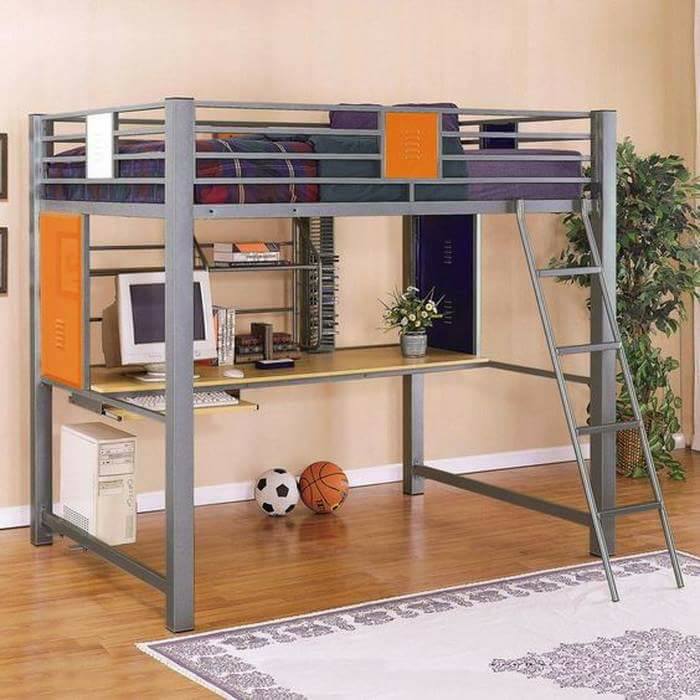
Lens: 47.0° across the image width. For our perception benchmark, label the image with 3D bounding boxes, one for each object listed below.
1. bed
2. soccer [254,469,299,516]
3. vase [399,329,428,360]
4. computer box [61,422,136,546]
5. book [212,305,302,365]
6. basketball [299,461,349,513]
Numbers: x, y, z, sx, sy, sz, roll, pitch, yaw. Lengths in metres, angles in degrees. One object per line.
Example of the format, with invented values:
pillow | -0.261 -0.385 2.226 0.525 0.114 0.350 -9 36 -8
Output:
bed | -0.453 -0.011 3.963 2.786 2.117 1.222 -3 9 -26
soccer | -0.374 0.732 4.142 0.241 0.244 0.225 3 5 4
vase | 0.332 -0.028 4.236 0.143 0.122 0.134 0 1 -12
computer box | -1.068 0.544 3.393 0.444 0.481 0.459 -1 1 -24
book | -0.574 -0.076 4.071 0.434 0.285 0.240 -2 8 -31
basketball | -0.142 0.704 4.217 0.271 0.246 0.256 -7 -6 -22
